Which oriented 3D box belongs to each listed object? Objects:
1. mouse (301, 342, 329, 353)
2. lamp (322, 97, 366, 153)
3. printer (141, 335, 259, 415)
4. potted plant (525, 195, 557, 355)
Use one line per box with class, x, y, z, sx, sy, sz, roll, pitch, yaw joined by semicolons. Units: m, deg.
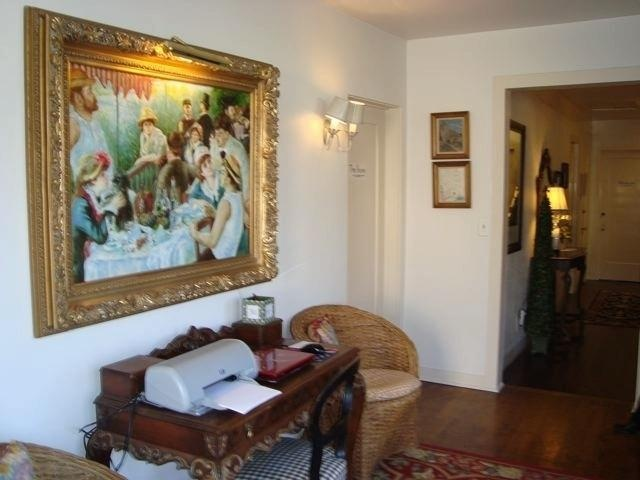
mouse;-0.033;0.606;2.822;0.093;0.031;0.058;2;6;16
lamp;0.148;-0.877;3.700;0.286;0.428;0.451;-1;5;-5
printer;-0.569;0.569;2.211;0.261;0.119;0.314;-1;7;30
potted plant;2.492;0.388;5.667;0.293;1.758;0.501;2;5;26
